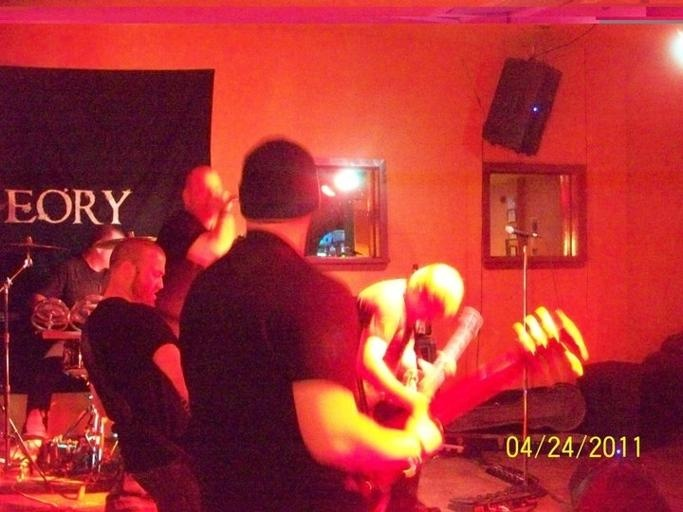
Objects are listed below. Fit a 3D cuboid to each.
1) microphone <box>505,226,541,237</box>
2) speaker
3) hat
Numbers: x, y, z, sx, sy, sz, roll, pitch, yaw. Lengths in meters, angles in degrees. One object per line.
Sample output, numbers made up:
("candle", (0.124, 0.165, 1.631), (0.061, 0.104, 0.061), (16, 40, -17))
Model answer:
("microphone", (1.723, -0.238, 6.833), (0.297, 0.094, 0.092), (16, 5, -28))
("speaker", (1.746, -1.458, 7.000), (0.717, 0.891, 0.265), (4, -2, 3))
("hat", (-0.356, -0.424, 4.008), (0.418, 0.417, 0.391), (-1, 5, -12))
